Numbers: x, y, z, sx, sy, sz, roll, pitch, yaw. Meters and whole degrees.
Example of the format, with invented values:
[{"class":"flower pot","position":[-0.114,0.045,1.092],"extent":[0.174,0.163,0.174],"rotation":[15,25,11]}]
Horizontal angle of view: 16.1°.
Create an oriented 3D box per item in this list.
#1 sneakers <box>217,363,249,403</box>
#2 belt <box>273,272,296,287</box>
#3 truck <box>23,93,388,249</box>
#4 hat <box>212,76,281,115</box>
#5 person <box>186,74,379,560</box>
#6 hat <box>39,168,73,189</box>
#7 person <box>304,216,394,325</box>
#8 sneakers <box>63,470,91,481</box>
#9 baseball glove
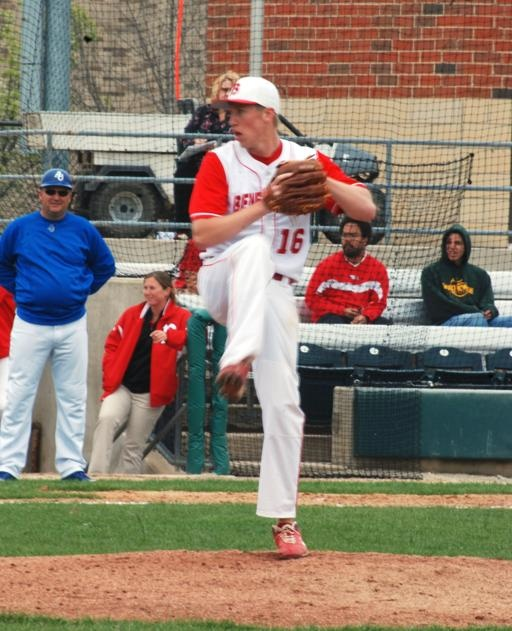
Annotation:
[{"class":"sneakers","position":[-0.118,0.400,10.818],"extent":[0.137,0.241,0.242],"rotation":[7,10,32]},{"class":"belt","position":[0.175,-0.206,11.172],"extent":[0.079,0.032,0.083],"rotation":[26,-5,21]},{"class":"truck","position":[-0.596,-1.402,16.890],"extent":[2.635,1.019,1.519],"rotation":[-1,6,-7]},{"class":"hat","position":[-0.008,-1.323,11.182],"extent":[0.281,0.162,0.212],"rotation":[24,8,-3]},{"class":"person","position":[0.088,0.049,11.149],"extent":[0.991,2.952,0.864],"rotation":[1,9,-8]},{"class":"hat","position":[-1.469,-0.996,13.496],"extent":[0.211,0.141,0.277],"rotation":[3,9,3]},{"class":"person","position":[0.849,-0.296,15.444],"extent":[0.772,1.097,0.703],"rotation":[15,17,42]},{"class":"sneakers","position":[-1.298,1.214,13.352],"extent":[0.229,0.099,0.080],"rotation":[7,-4,-7]},{"class":"baseball glove","position":[0.248,-0.764,11.063],"extent":[0.377,0.351,0.230],"rotation":[3,9,3]}]
